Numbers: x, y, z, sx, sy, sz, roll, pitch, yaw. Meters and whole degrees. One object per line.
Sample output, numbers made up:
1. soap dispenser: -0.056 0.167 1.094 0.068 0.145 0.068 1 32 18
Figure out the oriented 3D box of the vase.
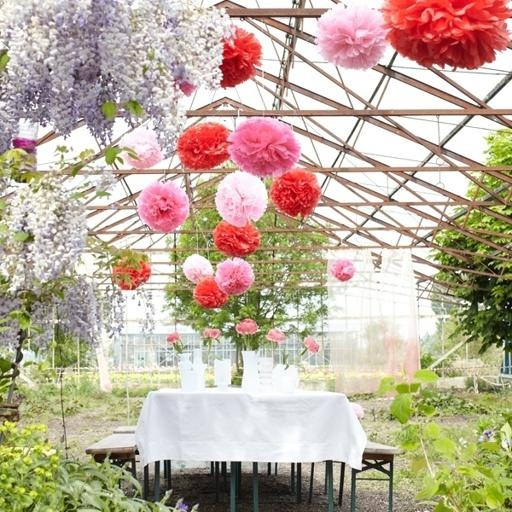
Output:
1. vase: -0.121 0.704 3.539 0.749 0.246 0.457 0 -9 2
